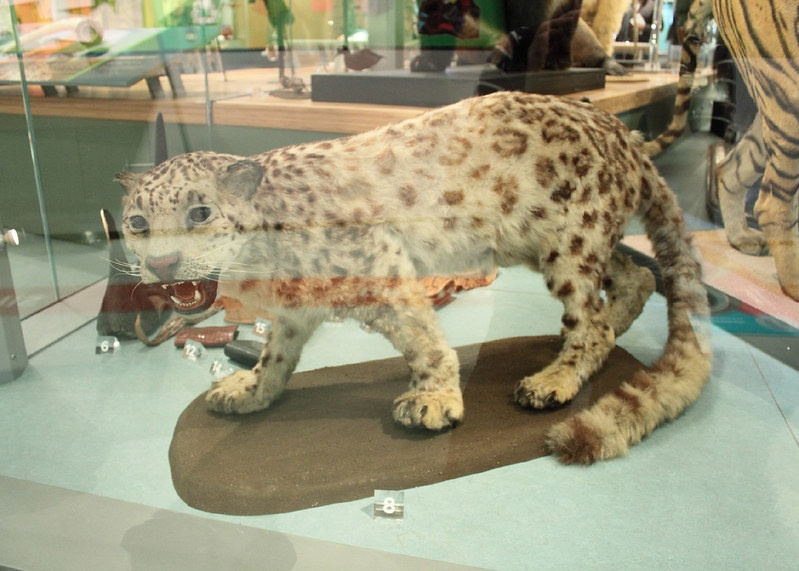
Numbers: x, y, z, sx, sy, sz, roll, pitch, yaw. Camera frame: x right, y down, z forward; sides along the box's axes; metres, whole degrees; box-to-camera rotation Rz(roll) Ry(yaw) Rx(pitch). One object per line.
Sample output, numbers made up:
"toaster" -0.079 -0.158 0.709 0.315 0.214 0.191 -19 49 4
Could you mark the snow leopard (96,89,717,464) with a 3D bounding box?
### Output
"snow leopard" 0.084 -0.028 1.910 1.702 0.757 0.734 -3 14 -9
